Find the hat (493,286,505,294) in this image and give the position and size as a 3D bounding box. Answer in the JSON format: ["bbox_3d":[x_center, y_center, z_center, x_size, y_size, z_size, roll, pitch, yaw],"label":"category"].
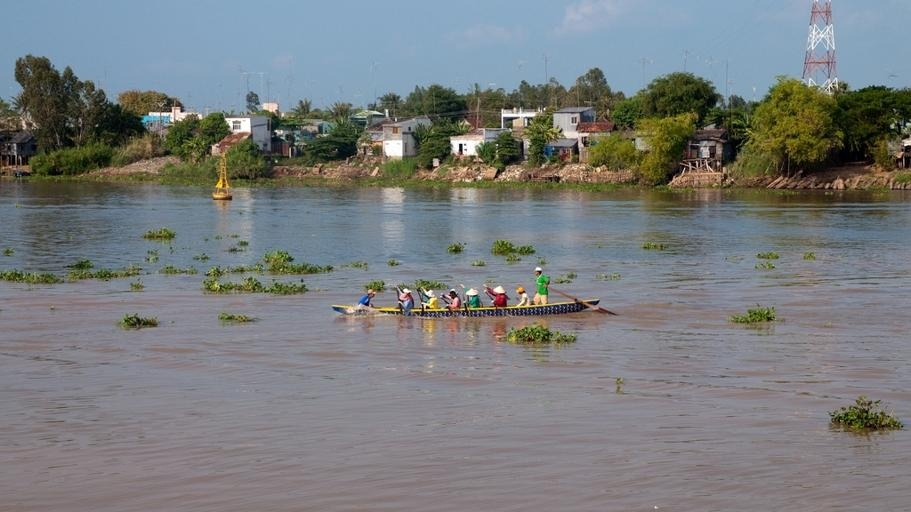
[{"bbox_3d":[3.213,2.539,109.159,0.630,0.223,0.589,10,11,13],"label":"hat"}]
